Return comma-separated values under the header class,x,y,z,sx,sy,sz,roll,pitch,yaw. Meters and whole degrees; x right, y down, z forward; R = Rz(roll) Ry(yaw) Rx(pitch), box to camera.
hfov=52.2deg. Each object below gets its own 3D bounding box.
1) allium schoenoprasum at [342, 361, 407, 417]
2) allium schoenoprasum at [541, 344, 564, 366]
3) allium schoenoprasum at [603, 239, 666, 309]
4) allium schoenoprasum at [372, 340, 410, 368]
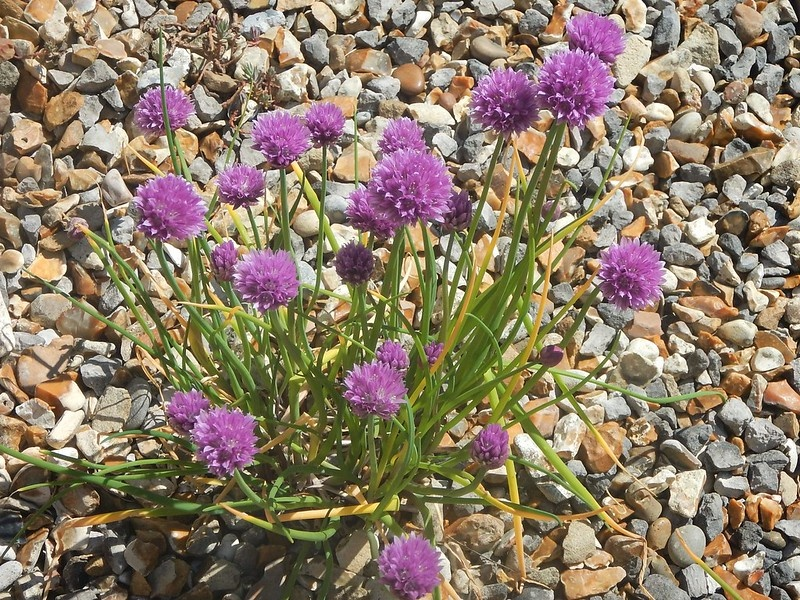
class,x,y,z,sx,sy,sz,roll,pitch,yaw
allium schoenoprasum,-0.083,0.272,2.424,0.174,0.229,0.196,-5,68,-9
allium schoenoprasum,0.451,0.175,2.457,0.055,0.066,0.053,37,55,-31
allium schoenoprasum,0.730,-0.090,2.575,0.267,0.294,0.182,0,83,12
allium schoenoprasum,-0.029,0.182,2.667,0.084,0.086,0.096,22,108,18
